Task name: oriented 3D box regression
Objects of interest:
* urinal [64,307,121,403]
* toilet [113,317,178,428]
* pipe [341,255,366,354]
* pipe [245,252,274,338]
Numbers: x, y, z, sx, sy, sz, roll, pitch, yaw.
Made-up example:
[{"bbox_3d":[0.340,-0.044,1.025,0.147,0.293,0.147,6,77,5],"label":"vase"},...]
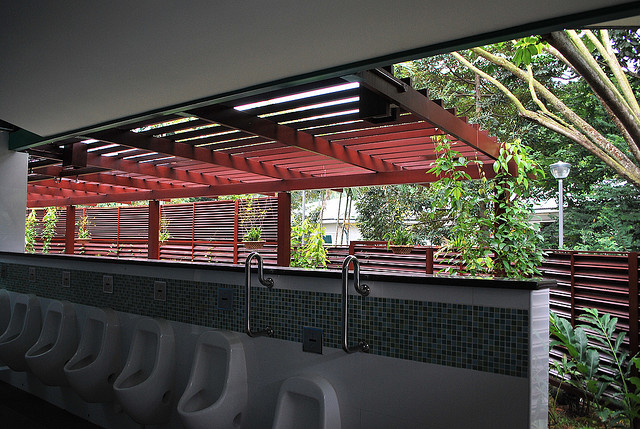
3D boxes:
[{"bbox_3d":[-2.314,1.471,4.320,0.494,0.968,0.535,3,-6,-29],"label":"urinal"},{"bbox_3d":[-1.668,1.481,3.972,0.531,0.957,0.436,4,-6,-41],"label":"toilet"},{"bbox_3d":[0.254,0.645,3.030,0.091,0.676,0.247,18,-24,-41],"label":"pipe"},{"bbox_3d":[-0.513,0.685,3.539,0.240,0.734,0.381,0,-5,-2],"label":"pipe"}]
